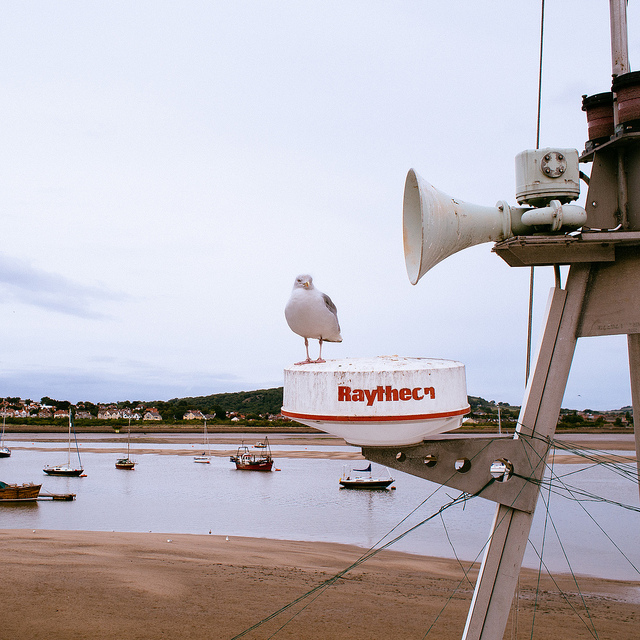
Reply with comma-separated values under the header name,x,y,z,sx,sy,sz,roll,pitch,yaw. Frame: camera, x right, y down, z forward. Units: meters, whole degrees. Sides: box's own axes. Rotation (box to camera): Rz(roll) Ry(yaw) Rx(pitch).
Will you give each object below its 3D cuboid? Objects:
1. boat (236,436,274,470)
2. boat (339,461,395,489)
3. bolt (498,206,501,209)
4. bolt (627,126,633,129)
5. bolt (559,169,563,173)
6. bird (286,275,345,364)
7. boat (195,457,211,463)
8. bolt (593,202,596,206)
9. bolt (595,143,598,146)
name,x,y,z,sx,sy,sz,roll,pitch,yaw
boat,-3.964,8.407,48.238,1.241,2.717,3.846,2,-9,-36
boat,2.294,7.782,39.475,2.585,0.629,2.848,-1,-2,5
bolt,2.403,-1.520,10.756,0.030,0.034,0.008,2,7,7
bolt,4.046,-2.532,10.478,0.031,0.019,0.048,1,1,-8
bolt,3.121,-1.950,10.394,0.036,0.021,0.051,1,2,22
bird,-0.101,-0.067,14.021,0.765,1.642,1.821,-2,1,16
boat,-7.431,8.879,50.670,1.032,0.237,0.715,-1,-2,14
bolt,3.717,-1.586,10.869,0.028,0.037,0.035,0,-19,2
bolt,3.756,-2.404,10.909,0.033,0.037,0.010,-2,-3,25
